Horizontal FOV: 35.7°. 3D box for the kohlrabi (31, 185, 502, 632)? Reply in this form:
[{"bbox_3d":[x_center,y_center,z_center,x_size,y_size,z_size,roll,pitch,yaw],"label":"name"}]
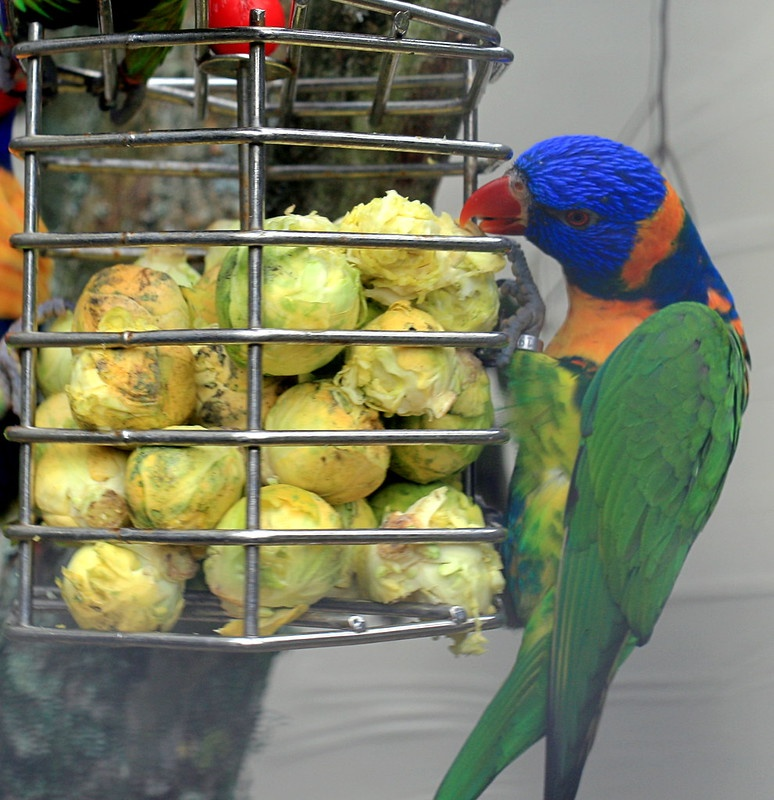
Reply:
[{"bbox_3d":[-0.064,0.010,0.640,0.277,0.219,0.135,1,5,-10],"label":"kohlrabi"}]
